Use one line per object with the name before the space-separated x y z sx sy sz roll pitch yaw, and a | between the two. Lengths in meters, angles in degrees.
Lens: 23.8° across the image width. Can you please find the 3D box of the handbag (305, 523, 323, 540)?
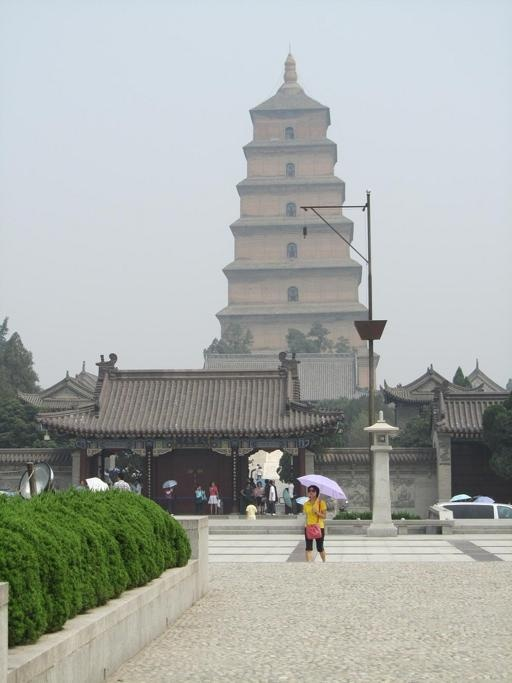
handbag | 0.809 2.595 16.752 0.211 0.220 0.085 -1 -20 0

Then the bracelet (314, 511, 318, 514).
bracelet | 0.836 2.337 16.695 0.021 0.028 0.099 0 -14 -9

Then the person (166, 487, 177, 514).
person | -2.290 4.160 32.287 0.293 0.718 0.899 1 -10 -5

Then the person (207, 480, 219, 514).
person | -1.102 4.072 32.019 0.306 0.855 0.964 1 -10 -2
